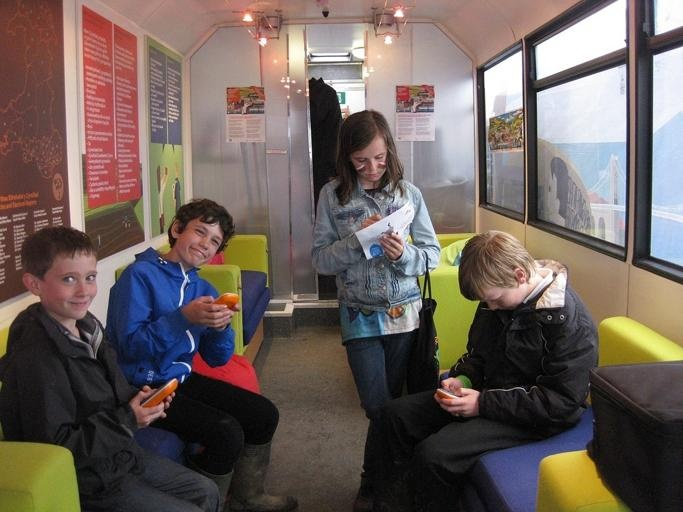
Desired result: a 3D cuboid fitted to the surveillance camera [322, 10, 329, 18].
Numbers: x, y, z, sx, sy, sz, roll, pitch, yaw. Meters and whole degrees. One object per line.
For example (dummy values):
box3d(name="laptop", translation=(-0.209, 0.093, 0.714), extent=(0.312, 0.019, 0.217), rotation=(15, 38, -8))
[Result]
box3d(name="surveillance camera", translation=(-0.165, -2.543, 4.965), extent=(0.056, 0.063, 0.096), rotation=(-2, -2, -5))

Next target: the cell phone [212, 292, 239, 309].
box3d(name="cell phone", translation=(-0.535, 0.208, 2.224), extent=(0.115, 0.068, 0.069), rotation=(1, -11, -12))

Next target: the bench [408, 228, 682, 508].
box3d(name="bench", translation=(0.852, 0.325, 2.569), extent=(1.056, 1.504, 1.147), rotation=(0, 5, 2))
